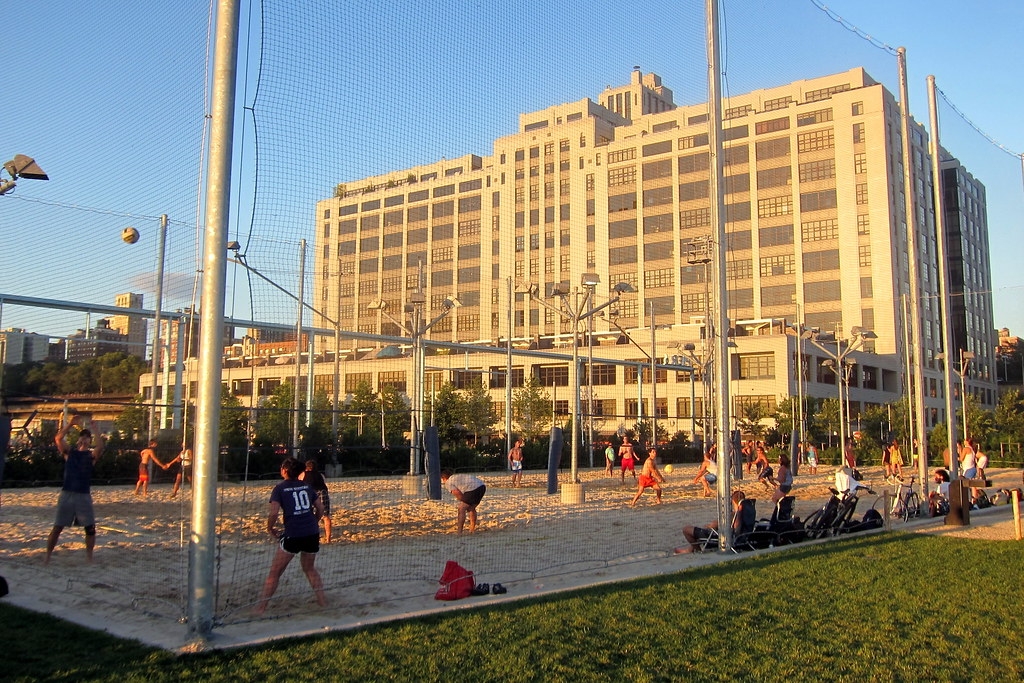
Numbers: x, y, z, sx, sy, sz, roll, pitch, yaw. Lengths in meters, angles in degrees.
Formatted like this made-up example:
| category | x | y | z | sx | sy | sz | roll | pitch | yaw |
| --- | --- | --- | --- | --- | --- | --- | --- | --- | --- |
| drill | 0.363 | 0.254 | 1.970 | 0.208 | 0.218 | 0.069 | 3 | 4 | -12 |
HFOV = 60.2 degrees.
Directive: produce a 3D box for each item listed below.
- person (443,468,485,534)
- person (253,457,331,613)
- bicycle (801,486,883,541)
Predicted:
| category | x | y | z | sx | sy | sz | roll | pitch | yaw |
| --- | --- | --- | --- | --- | --- | --- | --- | --- | --- |
| person | -1.274 | 4.157 | 23.325 | 0.978 | 1.560 | 2.830 | 0 | -10 | -4 |
| person | -3.971 | 3.446 | 16.015 | 1.125 | 2.653 | 1.168 | 2 | -9 | -17 |
| bicycle | 8.512 | 4.659 | 23.258 | 2.146 | 1.419 | 1.445 | 9 | -22 | -34 |
